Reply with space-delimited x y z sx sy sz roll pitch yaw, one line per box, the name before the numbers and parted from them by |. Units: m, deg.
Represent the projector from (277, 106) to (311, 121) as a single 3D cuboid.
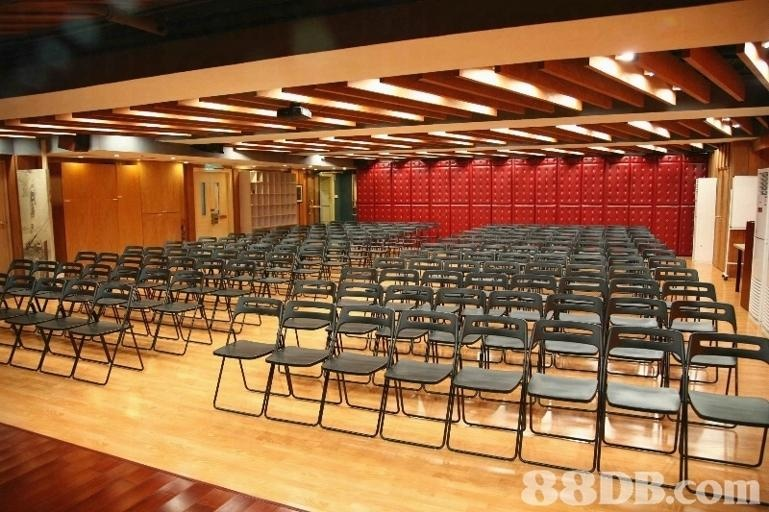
projector | -1.320 -2.127 7.885 0.379 0.092 0.314 1 2 25
